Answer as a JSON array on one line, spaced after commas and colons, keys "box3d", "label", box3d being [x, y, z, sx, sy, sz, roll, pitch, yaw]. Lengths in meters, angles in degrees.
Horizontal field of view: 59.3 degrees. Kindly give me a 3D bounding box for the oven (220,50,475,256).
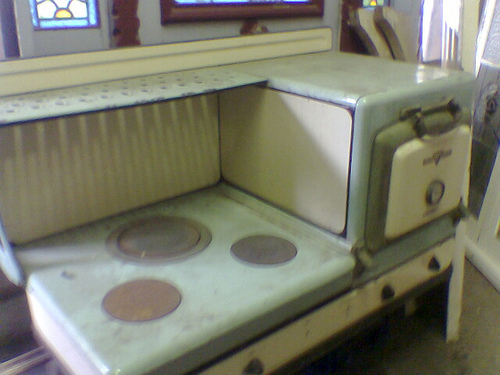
[{"box3d": [0.385, -0.189, 1.781, 0.938, 0.556, 0.953, -4, 25, -7], "label": "oven"}]
